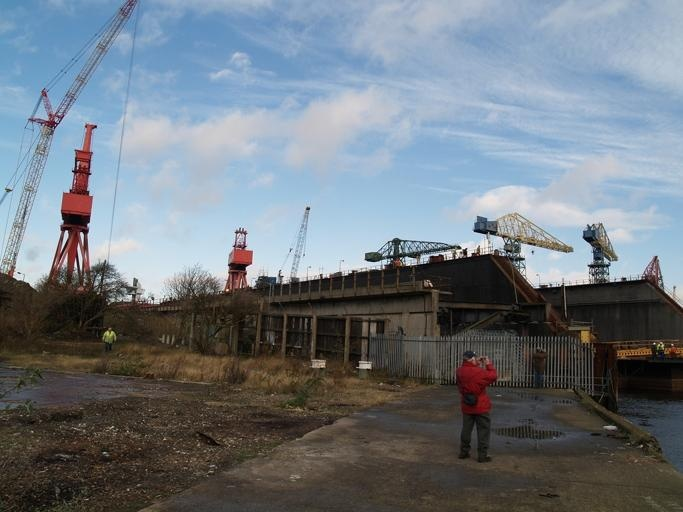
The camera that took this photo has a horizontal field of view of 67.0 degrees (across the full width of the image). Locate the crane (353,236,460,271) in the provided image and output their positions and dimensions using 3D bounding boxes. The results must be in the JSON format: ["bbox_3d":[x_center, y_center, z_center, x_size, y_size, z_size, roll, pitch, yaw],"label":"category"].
[{"bbox_3d":[14.136,-1.793,108.151,22.566,7.213,14.253,8,-6,-29],"label":"crane"}]

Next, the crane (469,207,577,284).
[{"bbox_3d":[35.268,-2.173,99.742,3.470,12.981,19.919,-11,17,-33],"label":"crane"}]

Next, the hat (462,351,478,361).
[{"bbox_3d":[2.748,2.130,11.037,0.185,0.130,0.266,1,4,38],"label":"hat"}]

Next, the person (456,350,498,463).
[{"bbox_3d":[2.850,3.137,10.754,0.889,2.136,0.895,-7,-18,36],"label":"person"}]

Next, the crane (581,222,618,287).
[{"bbox_3d":[54.640,0.290,109.558,3.940,15.578,18.048,-6,-16,35],"label":"crane"}]

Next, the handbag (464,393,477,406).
[{"bbox_3d":[2.642,2.930,10.538,0.258,0.255,0.079,-9,-15,42],"label":"handbag"}]
